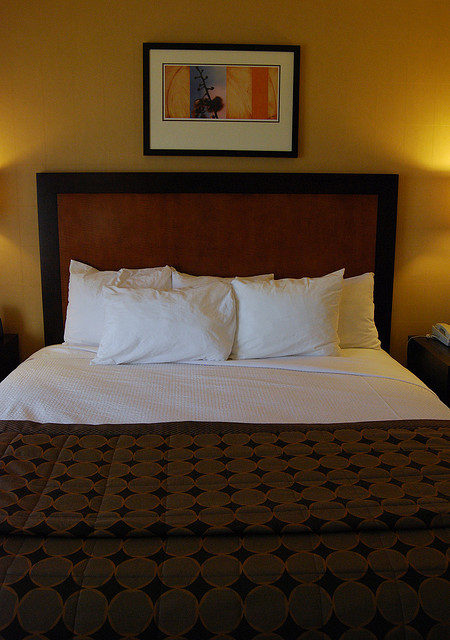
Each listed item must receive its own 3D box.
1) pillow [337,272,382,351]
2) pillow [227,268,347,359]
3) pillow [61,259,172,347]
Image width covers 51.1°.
[{"bbox_3d":[0.678,-0.076,2.594,0.348,0.356,0.130,-10,6,-25],"label":"pillow"},{"bbox_3d":[0.324,-0.020,2.367,0.559,0.437,0.196,-3,10,3],"label":"pillow"},{"bbox_3d":[-0.685,-0.095,2.606,0.480,0.474,0.147,0,-7,15],"label":"pillow"}]
